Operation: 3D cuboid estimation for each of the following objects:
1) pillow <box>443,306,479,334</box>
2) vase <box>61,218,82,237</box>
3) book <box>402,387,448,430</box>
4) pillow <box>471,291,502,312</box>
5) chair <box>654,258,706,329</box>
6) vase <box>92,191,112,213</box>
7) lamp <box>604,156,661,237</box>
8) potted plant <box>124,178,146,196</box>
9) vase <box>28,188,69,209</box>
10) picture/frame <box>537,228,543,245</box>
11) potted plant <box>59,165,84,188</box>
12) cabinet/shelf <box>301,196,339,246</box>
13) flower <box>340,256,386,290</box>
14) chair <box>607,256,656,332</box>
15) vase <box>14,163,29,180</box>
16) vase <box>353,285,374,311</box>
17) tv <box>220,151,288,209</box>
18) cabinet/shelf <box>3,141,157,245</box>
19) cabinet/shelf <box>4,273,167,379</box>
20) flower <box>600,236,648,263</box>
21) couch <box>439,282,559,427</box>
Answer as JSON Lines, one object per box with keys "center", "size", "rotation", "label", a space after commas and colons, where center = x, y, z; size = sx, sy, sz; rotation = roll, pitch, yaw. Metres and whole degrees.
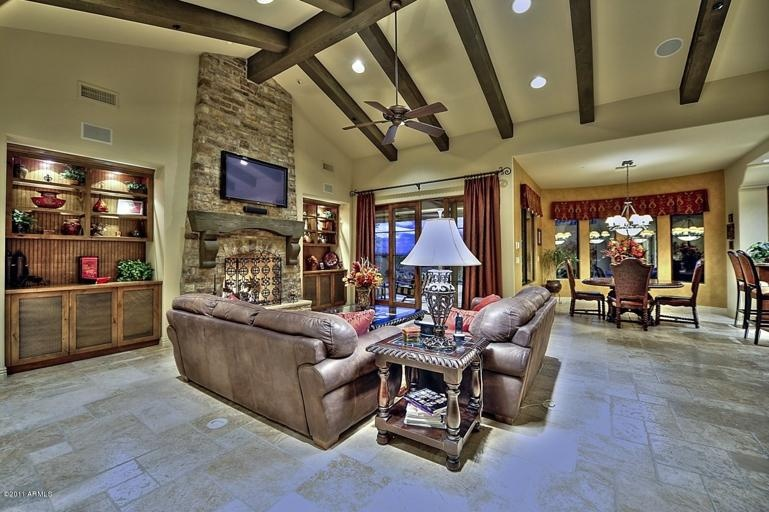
{"center": [0.991, 0.813, 5.785], "size": [0.350, 0.113, 0.343], "rotation": [-1, 22, 16], "label": "pillow"}
{"center": [-4.670, -0.423, 6.755], "size": [0.242, 0.275, 0.246], "rotation": [1, -8, -20], "label": "vase"}
{"center": [0.448, 1.680, 4.937], "size": [0.465, 0.157, 0.475], "rotation": [0, 0, 7], "label": "book"}
{"center": [1.351, 0.653, 6.107], "size": [0.338, 0.101, 0.335], "rotation": [-28, 4, -24], "label": "pillow"}
{"center": [5.623, 0.581, 8.546], "size": [0.694, 1.300, 1.766], "rotation": [7, 13, 34], "label": "chair"}
{"center": [-4.389, -0.836, 6.964], "size": [0.287, 0.420, 0.284], "rotation": [4, 8, 41], "label": "vase"}
{"center": [5.161, -1.143, 9.394], "size": [0.878, 1.647, 2.354], "rotation": [6, 12, 30], "label": "lamp"}
{"center": [-4.013, -1.137, 7.276], "size": [0.295, 0.191, 0.290], "rotation": [0, -4, -1], "label": "potted plant"}
{"center": [-4.901, -0.811, 6.559], "size": [0.318, 0.223, 0.338], "rotation": [0, 4, -16], "label": "vase"}
{"center": [3.764, -0.485, 10.876], "size": [0.044, 0.407, 0.443], "rotation": [-2, -3, 27], "label": "picture/frame"}
{"center": [-4.673, -1.205, 6.786], "size": [0.322, 0.295, 0.316], "rotation": [0, 2, -24], "label": "potted plant"}
{"center": [-1.425, -0.762, 9.799], "size": [0.330, 0.993, 1.115], "rotation": [-2, -3, 32], "label": "cabinet/shelf"}
{"center": [-0.368, 0.312, 7.379], "size": [0.689, 0.666, 0.678], "rotation": [-1, 0, 24], "label": "flower"}
{"center": [4.379, 0.621, 7.941], "size": [0.625, 1.290, 0.685], "rotation": [7, 13, 33], "label": "chair"}
{"center": [-5.207, -1.203, 6.427], "size": [0.198, 0.232, 0.215], "rotation": [0, -4, 44], "label": "vase"}
{"center": [-0.235, 0.657, 7.365], "size": [0.436, 0.470, 0.448], "rotation": [2, -1, -15], "label": "vase"}
{"center": [-2.368, -1.361, 8.033], "size": [0.123, 0.698, 1.208], "rotation": [-1, -2, 41], "label": "tv"}
{"center": [-4.651, -0.975, 6.754], "size": [0.291, 1.102, 1.715], "rotation": [-2, -2, 41], "label": "cabinet/shelf"}
{"center": [-4.405, 1.031, 6.497], "size": [0.418, 0.813, 1.440], "rotation": [-4, -3, 43], "label": "cabinet/shelf"}
{"center": [4.785, -0.135, 8.930], "size": [0.954, 0.791, 0.949], "rotation": [-1, 3, 32], "label": "flower"}
{"center": [1.387, 1.027, 5.768], "size": [1.281, 1.128, 2.229], "rotation": [0, 2, 38], "label": "couch"}
